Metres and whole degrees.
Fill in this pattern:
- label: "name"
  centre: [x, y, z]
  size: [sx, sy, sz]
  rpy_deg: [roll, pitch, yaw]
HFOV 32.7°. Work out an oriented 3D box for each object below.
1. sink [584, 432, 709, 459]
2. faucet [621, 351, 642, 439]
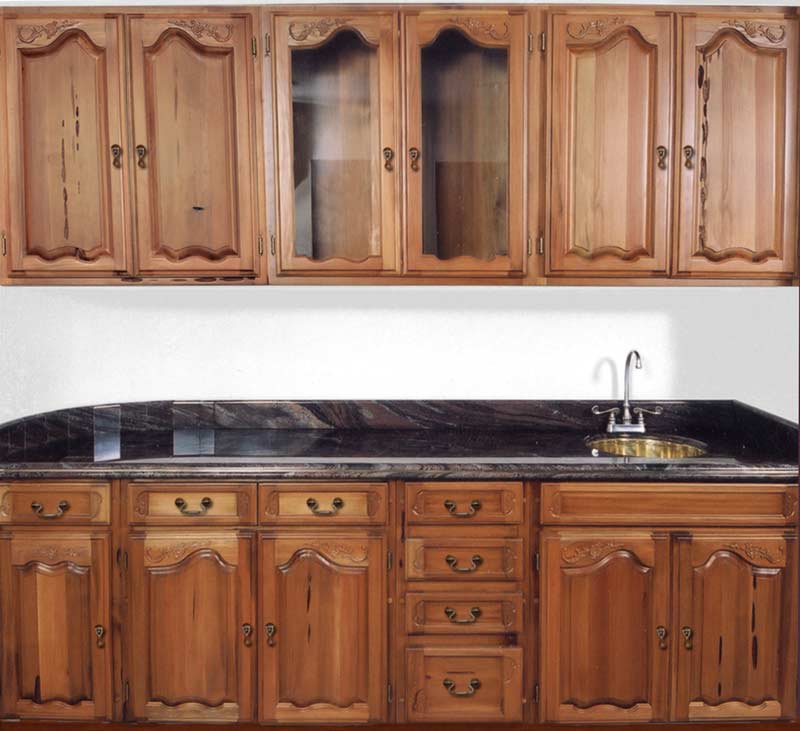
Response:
- label: "sink"
  centre: [0.908, 0.288, 5.025]
  size: [0.436, 0.089, 0.243]
  rpy_deg: [-2, -5, 10]
- label: "faucet"
  centre: [0.875, 0.094, 5.129]
  size: [0.082, 0.317, 0.267]
  rpy_deg: [-2, -5, 10]
